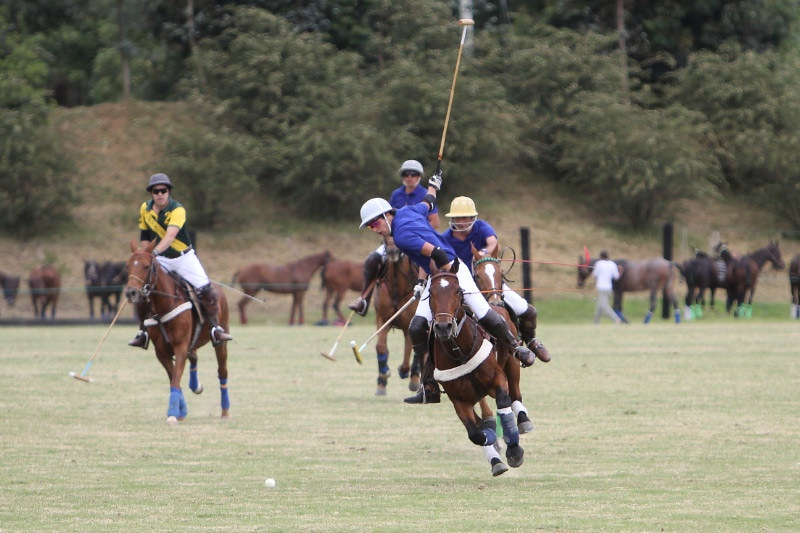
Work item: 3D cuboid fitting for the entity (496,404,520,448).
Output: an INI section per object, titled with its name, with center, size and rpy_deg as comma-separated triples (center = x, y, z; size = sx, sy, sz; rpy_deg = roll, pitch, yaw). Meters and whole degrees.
[entity]
center = 3.431, 4.863, 55.633
size = 0.570, 1.096, 1.654
rpy_deg = -15, 14, -12

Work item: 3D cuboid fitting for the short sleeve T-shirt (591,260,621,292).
[short sleeve T-shirt]
center = 8.206, 0.292, 69.853
size = 0.956, 1.214, 0.581
rpy_deg = 0, 1, 5

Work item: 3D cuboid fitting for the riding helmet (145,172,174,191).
[riding helmet]
center = -7.922, -2.960, 57.688
size = 0.766, 0.351, 0.732
rpy_deg = -7, -16, 4

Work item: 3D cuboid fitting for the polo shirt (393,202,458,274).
[polo shirt]
center = 0.672, -0.905, 55.310
size = 1.725, 2.183, 1.179
rpy_deg = -1, 1, -1
